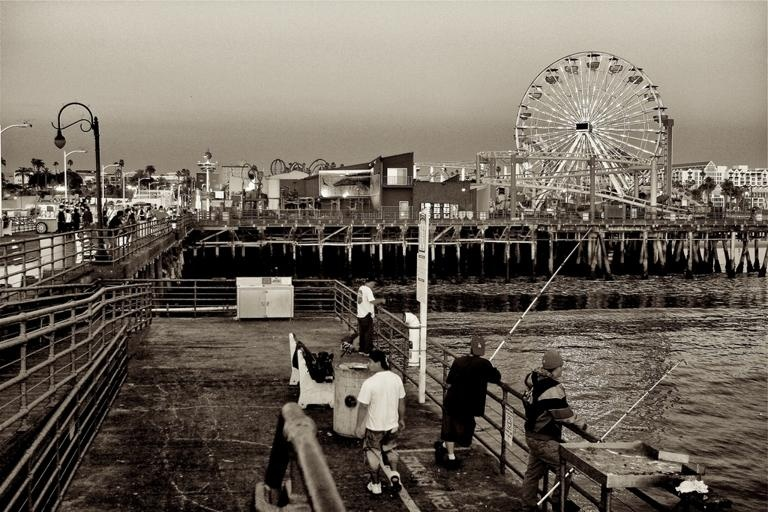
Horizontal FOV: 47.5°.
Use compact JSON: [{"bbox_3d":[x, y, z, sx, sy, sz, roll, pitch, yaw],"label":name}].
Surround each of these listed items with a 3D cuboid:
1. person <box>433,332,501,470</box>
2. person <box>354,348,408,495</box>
[{"bbox_3d":[1.399,2.586,15.563,1.159,2.269,0.623,1,3,18],"label":"person"},{"bbox_3d":[-0.117,2.830,15.049,0.794,2.384,0.725,0,3,-1],"label":"person"}]
